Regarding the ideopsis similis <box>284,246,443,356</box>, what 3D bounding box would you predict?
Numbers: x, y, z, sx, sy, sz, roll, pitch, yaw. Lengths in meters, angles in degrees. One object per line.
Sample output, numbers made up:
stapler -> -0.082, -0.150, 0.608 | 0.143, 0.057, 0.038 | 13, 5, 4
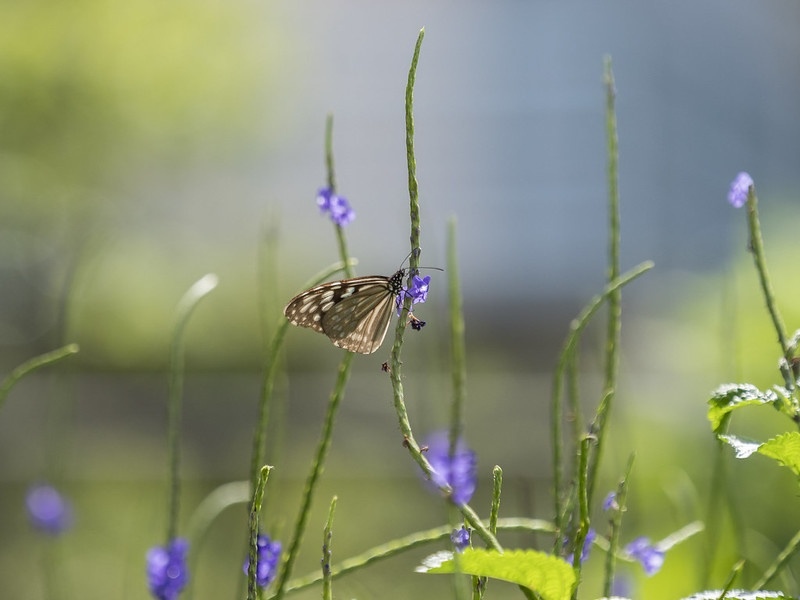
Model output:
ideopsis similis -> -0.046, 0.047, 1.267 | 0.143, 0.095, 0.129 | -31, -17, 9

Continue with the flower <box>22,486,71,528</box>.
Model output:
flower -> -0.510, 0.301, 1.468 | 0.069, 0.071, 0.025 | 2, -19, -5

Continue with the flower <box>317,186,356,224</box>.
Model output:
flower -> -0.080, -0.139, 1.312 | 0.048, 0.083, 0.032 | 8, -62, 2

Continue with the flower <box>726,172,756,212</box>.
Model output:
flower -> 0.428, -0.138, 1.271 | 0.017, 0.049, 0.033 | 21, -12, -37

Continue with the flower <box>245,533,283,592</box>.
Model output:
flower -> -0.169, 0.329, 1.284 | 0.032, 0.065, 0.107 | -2, -23, 5

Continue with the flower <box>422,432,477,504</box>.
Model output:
flower -> 0.062, 0.197, 1.212 | 0.060, 0.093, 0.036 | 3, -19, -8
